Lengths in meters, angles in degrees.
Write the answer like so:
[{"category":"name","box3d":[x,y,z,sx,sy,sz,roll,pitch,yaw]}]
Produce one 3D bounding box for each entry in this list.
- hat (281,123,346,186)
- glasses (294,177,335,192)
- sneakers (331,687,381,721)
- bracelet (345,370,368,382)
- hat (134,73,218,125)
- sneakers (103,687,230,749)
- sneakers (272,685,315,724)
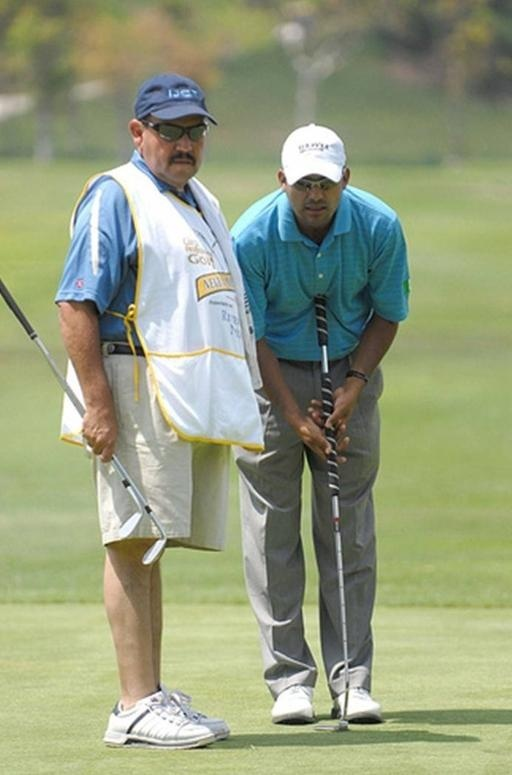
[{"category":"hat","box3d":[0.157,-0.639,3.704,0.185,0.119,0.256,-4,21,-4]},{"category":"glasses","box3d":[0.150,-0.532,3.628,0.108,0.034,0.039,-1,3,0]},{"category":"sneakers","box3d":[0.269,0.862,3.662,0.130,0.098,0.180,-1,3,2]},{"category":"bracelet","box3d":[0.279,-0.027,3.816,0.044,0.015,0.037,21,16,-4]},{"category":"hat","box3d":[-0.219,-0.737,3.488,0.190,0.116,0.254,-7,17,-29]},{"category":"sneakers","box3d":[-0.234,0.821,3.373,0.262,0.103,0.143,1,-2,1]},{"category":"sneakers","box3d":[0.093,0.863,3.664,0.110,0.083,0.167,-1,2,1]}]
